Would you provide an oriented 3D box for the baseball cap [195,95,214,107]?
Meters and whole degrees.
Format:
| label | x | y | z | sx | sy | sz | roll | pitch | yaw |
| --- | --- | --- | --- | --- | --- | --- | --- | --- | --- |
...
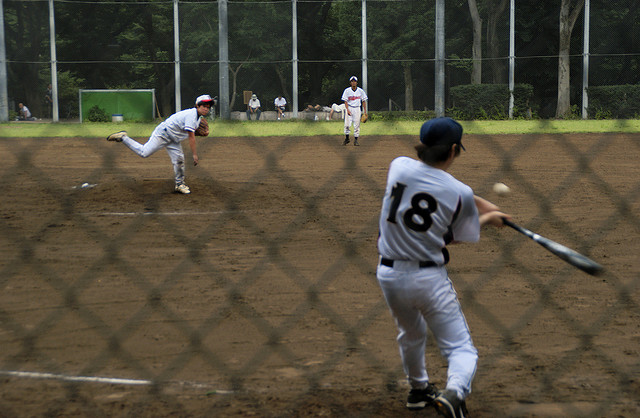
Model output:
| label | x | y | z | sx | sy | sz | roll | pitch | yaw |
| --- | --- | --- | --- | --- | --- | --- | --- | --- | --- |
| baseball cap | -2.775 | -2.572 | 22.135 | 0.342 | 0.198 | 0.225 | -15 | 4 | 1 |

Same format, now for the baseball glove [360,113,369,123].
| label | x | y | z | sx | sy | sz | roll | pitch | yaw |
| --- | --- | --- | --- | --- | --- | --- | --- | --- | --- |
| baseball glove | 1.380 | -2.762 | 28.322 | 0.101 | 0.278 | 0.203 | 27 | -10 | -5 |

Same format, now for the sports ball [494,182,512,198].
| label | x | y | z | sx | sy | sz | roll | pitch | yaw |
| --- | --- | --- | --- | --- | --- | --- | --- | --- | --- |
| sports ball | 3.667 | -0.349 | 18.653 | 0.303 | 0.197 | 0.350 | 26 | -3 | -7 |

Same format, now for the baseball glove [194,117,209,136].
| label | x | y | z | sx | sy | sz | roll | pitch | yaw |
| --- | --- | --- | --- | --- | --- | --- | --- | --- | --- |
| baseball glove | -2.952 | -2.005 | 22.682 | 0.372 | 0.432 | 0.366 | 7 | -7 | 6 |

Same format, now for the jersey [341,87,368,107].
| label | x | y | z | sx | sy | sz | roll | pitch | yaw |
| --- | --- | --- | --- | --- | --- | --- | --- | --- | --- |
| jersey | 1.009 | -3.394 | 28.406 | 0.640 | 0.537 | 0.627 | 0 | 14 | 6 |

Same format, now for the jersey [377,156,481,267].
| label | x | y | z | sx | sy | sz | roll | pitch | yaw |
| --- | --- | --- | --- | --- | --- | --- | --- | --- | --- |
| jersey | 1.863 | 0.081 | 16.222 | 1.687 | 1.809 | 0.517 | -1 | 14 | 2 |

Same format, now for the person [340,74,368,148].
| label | x | y | z | sx | sy | sz | roll | pitch | yaw |
| --- | --- | --- | --- | --- | --- | --- | --- | --- | --- |
| person | 1.062 | -2.959 | 28.335 | 0.795 | 2.033 | 0.592 | 0 | 5 | -7 |

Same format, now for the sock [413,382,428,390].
| label | x | y | z | sx | sy | sz | roll | pitch | yaw |
| --- | --- | --- | --- | --- | --- | --- | --- | --- | --- |
| sock | 1.792 | 3.144 | 16.430 | 0.229 | 0.109 | 0.026 | -3 | 14 | -7 |
